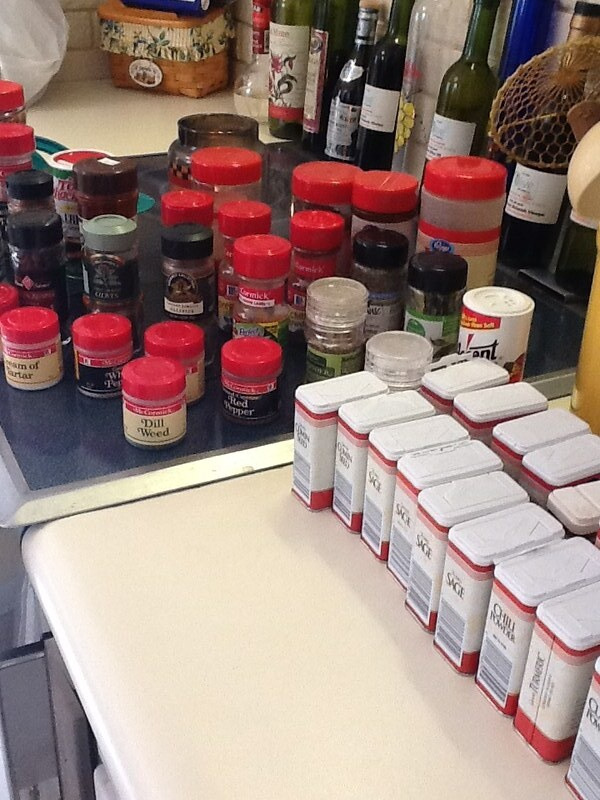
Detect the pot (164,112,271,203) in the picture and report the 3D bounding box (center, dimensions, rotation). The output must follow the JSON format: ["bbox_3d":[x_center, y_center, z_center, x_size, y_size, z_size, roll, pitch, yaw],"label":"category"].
[{"bbox_3d":[-0.099,-0.321,0.908,0.144,0.094,0.147,4,30,-2],"label":"pot"}]

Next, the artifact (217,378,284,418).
[{"bbox_3d":[-0.041,0.000,0.564,0.038,0.039,0.038,-21,35,-37],"label":"artifact"}]

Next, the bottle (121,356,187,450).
[{"bbox_3d":[-0.117,0.001,0.547,0.052,0.059,0.053,13,30,15],"label":"bottle"}]

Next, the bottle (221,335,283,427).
[{"bbox_3d":[-0.044,-0.019,0.580,0.054,0.060,0.055,13,30,13],"label":"bottle"}]

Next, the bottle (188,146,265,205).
[{"bbox_3d":[-0.070,-0.249,0.727,0.065,0.063,0.067,3,36,-6],"label":"bottle"}]

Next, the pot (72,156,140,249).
[{"bbox_3d":[-0.192,-0.212,0.731,0.078,0.085,0.080,4,33,-3],"label":"pot"}]

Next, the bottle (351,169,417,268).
[{"bbox_3d":[0.084,-0.190,0.705,0.073,0.084,0.074,-25,42,-32],"label":"bottle"}]

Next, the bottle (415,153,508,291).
[{"bbox_3d":[0.156,-0.171,0.653,0.073,0.119,0.074,-1,38,1],"label":"bottle"}]

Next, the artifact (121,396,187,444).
[{"bbox_3d":[-0.115,0.019,0.532,0.040,0.036,0.040,-8,31,-20],"label":"artifact"}]
